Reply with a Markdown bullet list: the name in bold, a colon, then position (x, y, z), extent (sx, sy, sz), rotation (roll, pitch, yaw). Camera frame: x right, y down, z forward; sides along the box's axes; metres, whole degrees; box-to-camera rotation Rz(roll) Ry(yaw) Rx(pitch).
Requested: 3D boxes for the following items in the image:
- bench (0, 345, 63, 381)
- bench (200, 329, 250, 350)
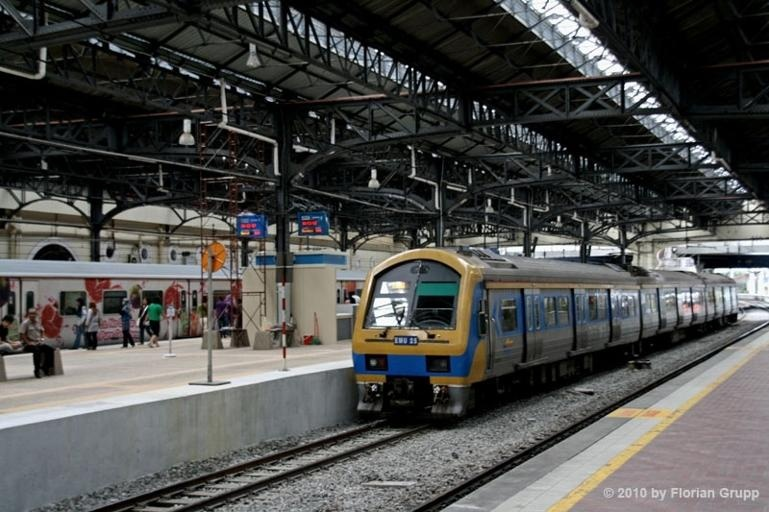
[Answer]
- **bench**: position (-10.334, 3.129, 20.589), extent (0.903, 0.814, 2.208), rotation (3, 2, 28)
- **bench**: position (-6.495, 3.448, 29.370), extent (1.099, 0.641, 1.529), rotation (1, -1, 39)
